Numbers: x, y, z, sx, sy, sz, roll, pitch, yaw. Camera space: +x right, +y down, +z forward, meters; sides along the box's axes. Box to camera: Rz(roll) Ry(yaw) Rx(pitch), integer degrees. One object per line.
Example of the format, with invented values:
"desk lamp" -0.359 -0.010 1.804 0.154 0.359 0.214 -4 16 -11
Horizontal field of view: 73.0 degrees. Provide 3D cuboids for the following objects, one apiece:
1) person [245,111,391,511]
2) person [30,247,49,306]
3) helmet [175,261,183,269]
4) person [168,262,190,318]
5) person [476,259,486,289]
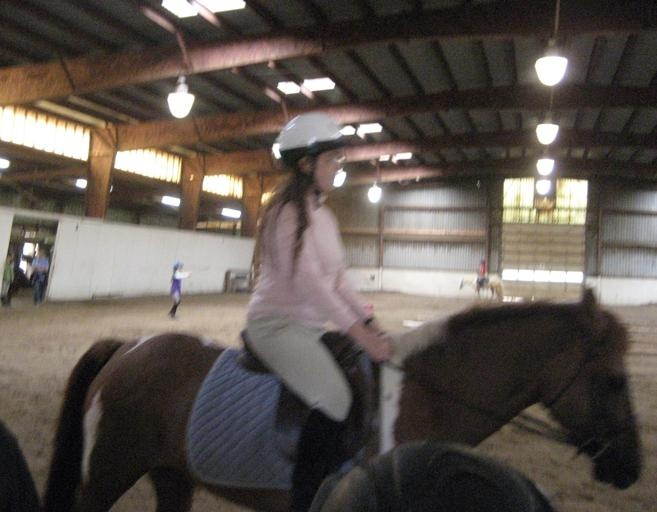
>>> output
"person" -0.047 0.135 1.245 0.421 1.087 0.206 3 0 36
"person" -5.215 0.316 7.998 0.266 1.095 0.176 3 0 -37
"helmet" -2.783 0.168 8.199 0.125 0.151 0.079 3 12 -22
"person" -2.933 0.639 8.605 0.289 0.925 0.859 -2 3 -11
"person" 4.387 0.564 12.666 0.279 0.859 1.493 3 0 18
